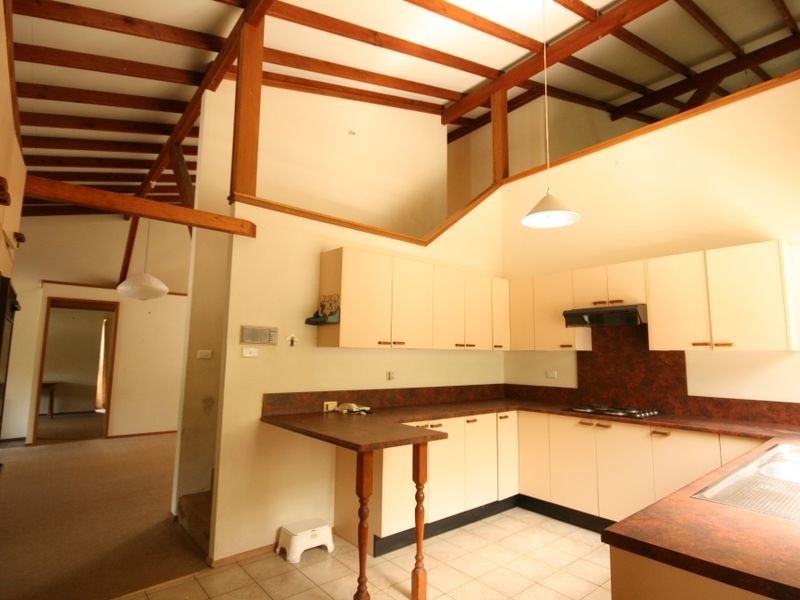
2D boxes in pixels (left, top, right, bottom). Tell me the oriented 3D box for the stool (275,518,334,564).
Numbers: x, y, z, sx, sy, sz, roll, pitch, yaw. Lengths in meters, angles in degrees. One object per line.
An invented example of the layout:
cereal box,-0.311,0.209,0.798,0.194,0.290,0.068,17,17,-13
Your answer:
stool,-0.877,2.191,5.489,0.466,0.231,0.370,-1,-2,-35

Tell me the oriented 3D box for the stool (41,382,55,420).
stool,-6.705,1.864,11.320,0.227,0.731,0.958,-3,5,-31

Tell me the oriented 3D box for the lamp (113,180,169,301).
lamp,-4.034,-0.662,9.158,0.590,1.333,2.926,-2,5,-25
